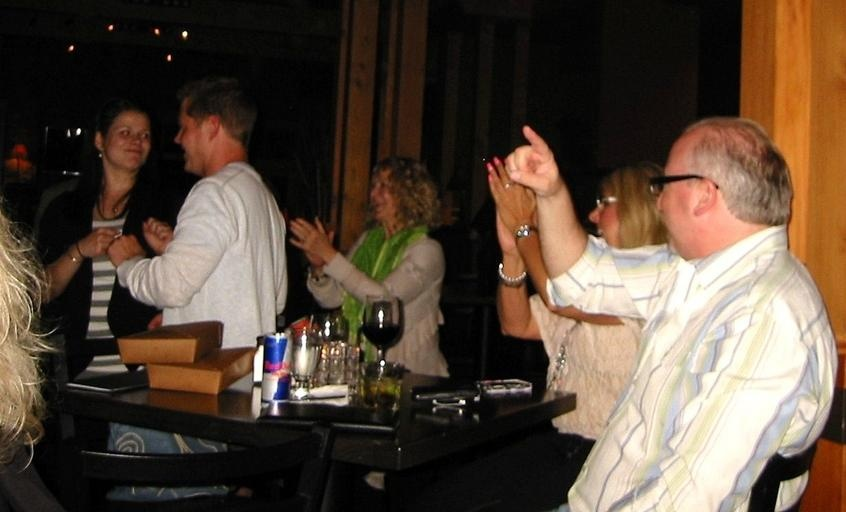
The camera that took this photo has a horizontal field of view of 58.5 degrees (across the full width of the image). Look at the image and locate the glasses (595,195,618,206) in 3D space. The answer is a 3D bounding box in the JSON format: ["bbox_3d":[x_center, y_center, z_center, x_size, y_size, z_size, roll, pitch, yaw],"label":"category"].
[{"bbox_3d":[0.807,-0.247,3.312,0.059,0.033,0.046,-1,-11,3],"label":"glasses"}]

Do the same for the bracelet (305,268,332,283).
[{"bbox_3d":[-0.600,0.116,4.262,0.079,0.096,0.101,3,-3,-25],"label":"bracelet"}]

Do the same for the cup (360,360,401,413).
[{"bbox_3d":[-0.157,0.516,2.947,0.164,0.139,0.154,3,-9,0],"label":"cup"}]

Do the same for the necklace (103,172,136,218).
[{"bbox_3d":[-1.767,-0.353,4.356,0.152,0.255,0.198,15,-5,-3],"label":"necklace"}]

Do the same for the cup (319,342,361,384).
[{"bbox_3d":[-0.343,0.442,3.165,0.177,0.173,0.166,3,-3,0],"label":"cup"}]

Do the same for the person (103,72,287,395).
[{"bbox_3d":[-1.026,-0.206,3.493,0.761,1.237,0.487,-1,2,-13],"label":"person"}]
